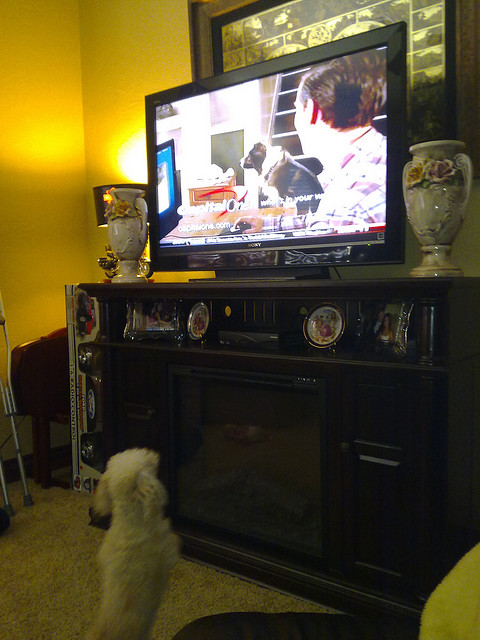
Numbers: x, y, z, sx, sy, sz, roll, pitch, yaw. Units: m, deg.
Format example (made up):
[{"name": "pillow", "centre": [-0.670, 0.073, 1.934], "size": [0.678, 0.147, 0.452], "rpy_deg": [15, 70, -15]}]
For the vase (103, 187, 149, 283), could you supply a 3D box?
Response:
[{"name": "vase", "centre": [-0.437, -0.330, 2.035], "size": [0.162, 0.381, 0.254], "rpy_deg": [-4, 4, -10]}]

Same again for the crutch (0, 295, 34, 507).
[{"name": "crutch", "centre": [-1.053, 0.378, 2.436], "size": [0.089, 0.893, 0.388], "rpy_deg": [-5, 4, -23]}]

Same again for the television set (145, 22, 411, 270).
[{"name": "television set", "centre": [0.140, -0.576, 1.817], "size": [0.944, 0.744, 0.259], "rpy_deg": [1, 3, 37]}]

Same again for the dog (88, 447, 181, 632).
[{"name": "dog", "centre": [-0.068, 0.142, 0.386], "size": [0.046, 0.138, 0.068], "rpy_deg": [4, -6, 1]}]

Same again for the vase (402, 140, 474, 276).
[{"name": "vase", "centre": [0.505, -0.284, 1.328], "size": [0.170, 0.355, 0.171], "rpy_deg": [-2, 4, 17]}]
